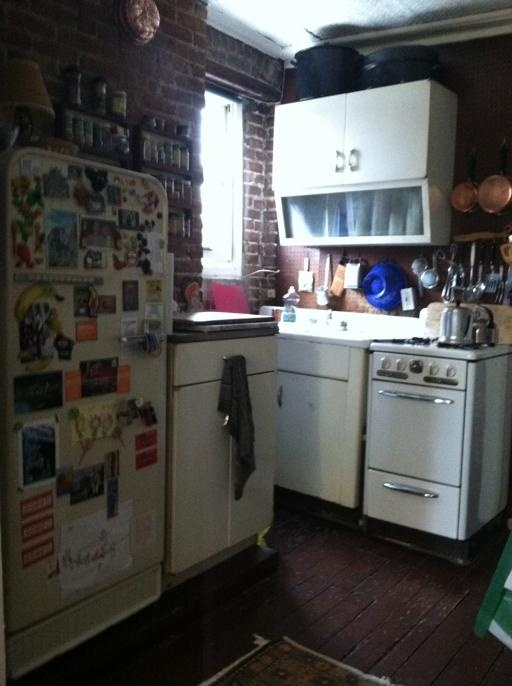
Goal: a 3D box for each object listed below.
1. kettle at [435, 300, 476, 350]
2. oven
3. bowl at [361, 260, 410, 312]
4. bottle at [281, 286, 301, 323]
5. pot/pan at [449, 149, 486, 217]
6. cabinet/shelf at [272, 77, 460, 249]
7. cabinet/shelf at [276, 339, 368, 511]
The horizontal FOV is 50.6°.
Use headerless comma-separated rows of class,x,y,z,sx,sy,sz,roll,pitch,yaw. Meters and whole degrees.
kettle,0.917,-0.080,2.556,0.160,0.258,0.175,0,6,5
oven,0.763,0.423,2.532,0.421,0.913,0.408,5,15,25
bowl,0.789,-0.348,3.297,0.251,0.301,0.094,5,5,39
bottle,0.243,-0.271,3.711,0.102,0.259,0.221,2,3,16
pot/pan,1.135,-0.869,2.925,0.146,0.306,0.064,10,0,36
cabinet/shelf,0.651,-1.033,3.047,0.883,0.869,0.353,6,8,44
cabinet/shelf,0.269,0.346,2.947,0.565,0.871,0.562,3,9,-1
